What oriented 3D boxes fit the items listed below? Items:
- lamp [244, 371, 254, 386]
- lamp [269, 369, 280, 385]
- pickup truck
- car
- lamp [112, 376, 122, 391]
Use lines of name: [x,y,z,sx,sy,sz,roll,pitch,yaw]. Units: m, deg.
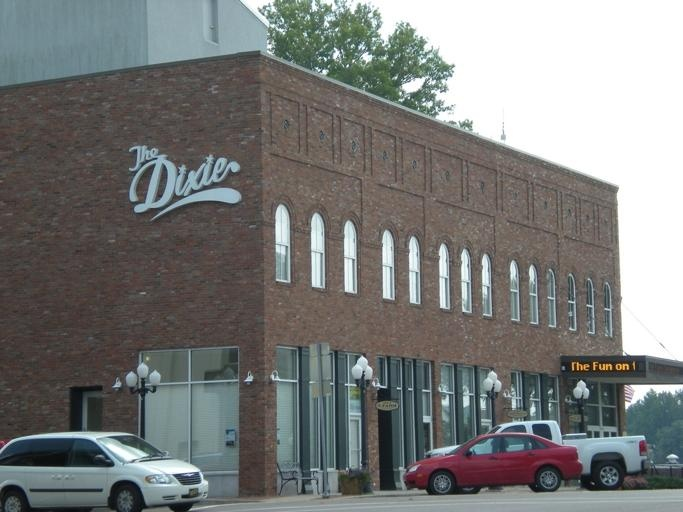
lamp: [-3.258,4.206,44.048,0.310,0.431,0.154,1,-10,6]
lamp: [-2.404,4.171,44.686,0.206,0.555,0.879,-3,-15,8]
pickup truck: [6.405,6.978,43.764,8.343,2.601,3.035,-3,-7,1]
car: [5.047,6.735,41.256,5.585,1.860,2.191,-3,-7,6]
lamp: [-8.142,4.544,45.340,0.380,0.518,0.170,-7,-16,23]
